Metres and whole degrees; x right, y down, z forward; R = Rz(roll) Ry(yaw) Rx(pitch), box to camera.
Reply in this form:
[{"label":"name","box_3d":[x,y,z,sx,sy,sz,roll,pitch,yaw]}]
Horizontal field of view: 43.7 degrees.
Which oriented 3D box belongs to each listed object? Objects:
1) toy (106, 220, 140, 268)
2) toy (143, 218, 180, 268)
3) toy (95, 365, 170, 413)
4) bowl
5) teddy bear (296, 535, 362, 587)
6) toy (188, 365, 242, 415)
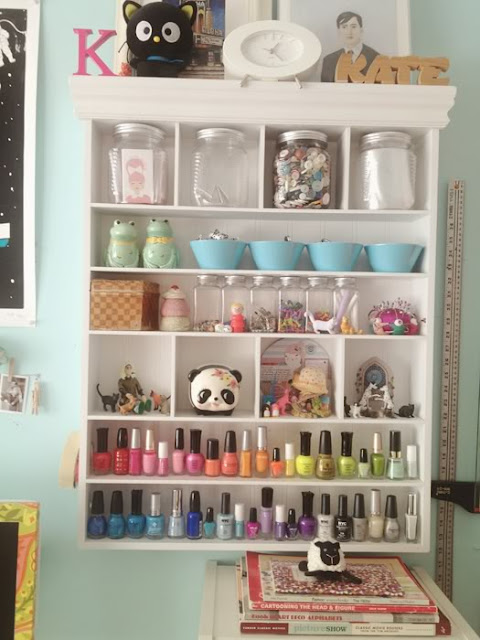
[{"label":"toy","box_3d":[-0.338,-0.217,1.731,0.105,0.131,0.079,-2,17,-23]},{"label":"toy","box_3d":[-0.227,-0.215,1.730,0.119,0.146,0.090,0,5,-2]},{"label":"toy","box_3d":[-0.329,0.215,1.831,0.199,0.135,0.135,-10,-12,29]},{"label":"bowl","box_3d":[0.198,-0.183,1.736,0.676,0.091,0.120,-2,0,-4]},{"label":"teddy bear","box_3d":[0.246,0.654,1.619,0.139,0.089,0.187,3,-3,0]},{"label":"toy","box_3d":[-0.073,0.208,1.757,0.159,0.130,0.156,1,7,8]}]
